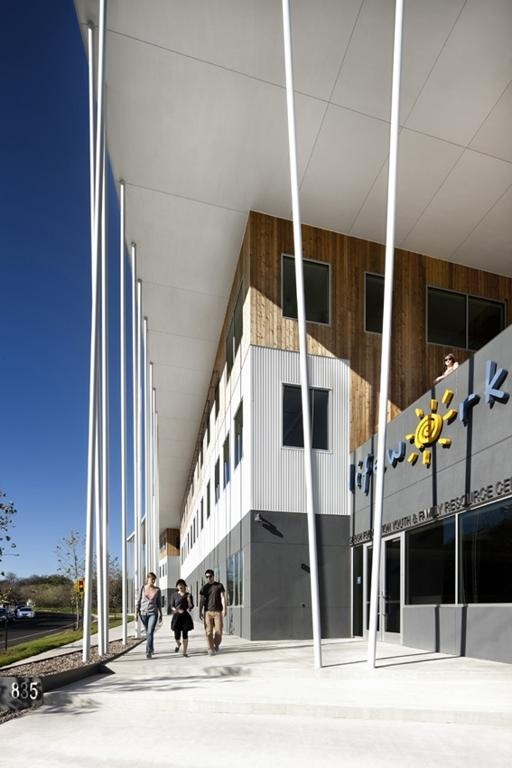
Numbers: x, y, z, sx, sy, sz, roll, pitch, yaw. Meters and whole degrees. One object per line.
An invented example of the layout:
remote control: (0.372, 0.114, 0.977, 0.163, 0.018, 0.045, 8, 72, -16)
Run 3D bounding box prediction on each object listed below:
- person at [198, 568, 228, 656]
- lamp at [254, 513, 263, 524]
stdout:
person: (-0.791, 4.096, 12.930, 0.426, 1.416, 1.781, 3, -15, -2)
lamp: (0.050, 3.141, 16.818, 0.205, 0.244, 0.063, 9, -12, -15)
